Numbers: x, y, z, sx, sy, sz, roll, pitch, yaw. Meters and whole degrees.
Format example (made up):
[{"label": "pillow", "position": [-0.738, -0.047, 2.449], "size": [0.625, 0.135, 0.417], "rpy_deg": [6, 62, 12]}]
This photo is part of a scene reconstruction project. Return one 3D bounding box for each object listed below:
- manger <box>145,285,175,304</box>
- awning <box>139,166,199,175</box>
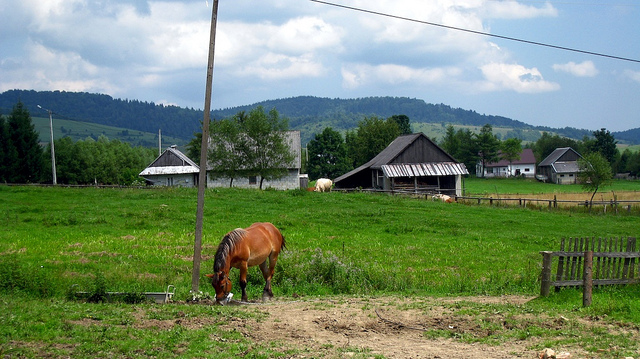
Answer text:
[{"label": "manger", "position": [-19.839, 14.445, 94.348], "size": [3.120, 2.041, 1.867], "rpy_deg": [-1, -3, 7]}, {"label": "awning", "position": [-30.674, -1.918, 152.888], "size": [11.017, 1.785, 2.331], "rpy_deg": [0, -2, 16]}]
